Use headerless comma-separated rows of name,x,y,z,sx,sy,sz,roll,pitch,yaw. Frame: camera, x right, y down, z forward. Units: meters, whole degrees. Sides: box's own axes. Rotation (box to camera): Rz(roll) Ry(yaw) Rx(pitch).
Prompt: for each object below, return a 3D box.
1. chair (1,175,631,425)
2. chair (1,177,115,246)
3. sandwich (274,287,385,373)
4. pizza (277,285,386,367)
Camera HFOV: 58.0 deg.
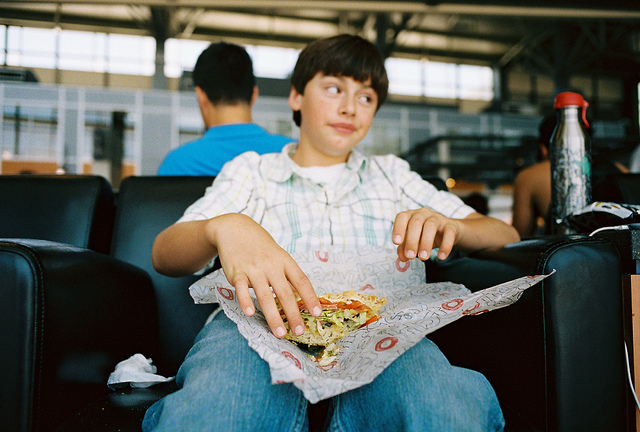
chair,-0.071,0.225,1.633,1.722,0.627,0.667,3,5,8
chair,-0.890,-0.035,1.985,0.244,0.256,0.247,6,-13,-5
sandwich,0.000,0.278,1.540,0.280,0.119,0.241,-16,-8,-36
pizza,0.050,0.269,1.561,0.291,0.134,0.188,-10,-1,17
